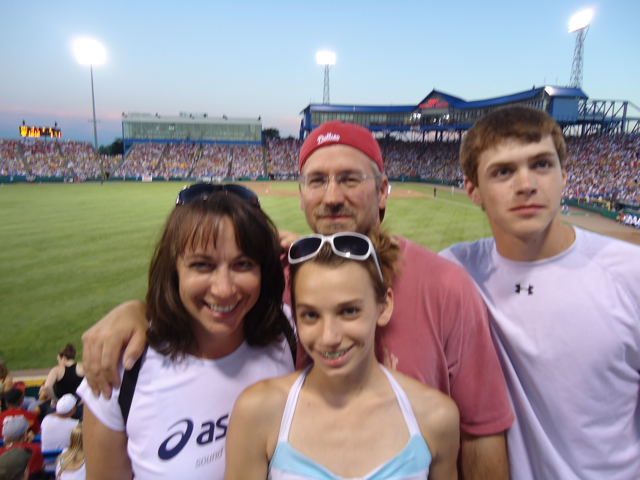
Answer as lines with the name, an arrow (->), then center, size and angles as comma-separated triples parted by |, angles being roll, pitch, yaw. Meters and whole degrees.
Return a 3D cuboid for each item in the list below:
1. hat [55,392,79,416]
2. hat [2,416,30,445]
hat -> -3.266, 2.138, 6.186 | 0.282, 0.246, 0.117 | 17, -8, 33
hat -> -3.867, 2.395, 6.081 | 0.255, 0.370, 0.137 | 20, -17, 7
